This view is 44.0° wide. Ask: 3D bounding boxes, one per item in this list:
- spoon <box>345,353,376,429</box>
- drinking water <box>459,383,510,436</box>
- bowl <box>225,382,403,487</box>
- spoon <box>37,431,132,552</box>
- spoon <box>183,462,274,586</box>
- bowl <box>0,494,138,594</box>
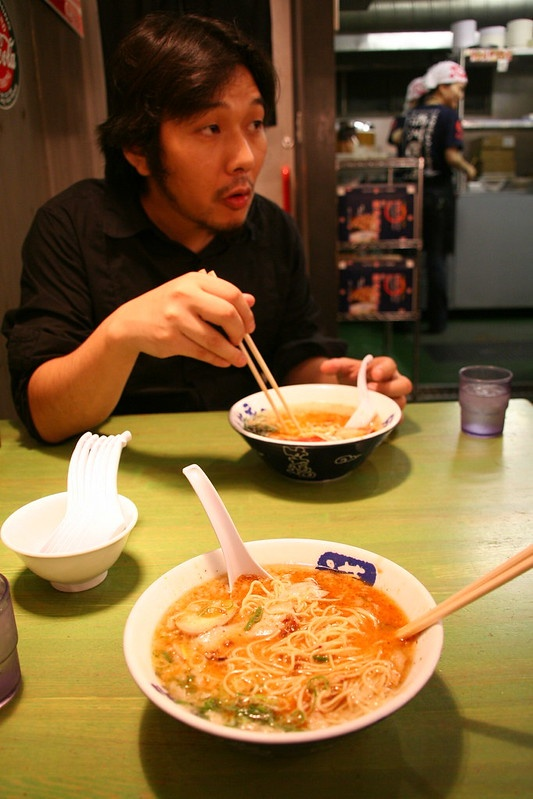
[{"bbox_3d":[0.237,-0.023,1.565,0.052,0.034,0.221,4,39,5],"label":"spoon"},{"bbox_3d":[0.503,0.031,1.536,0.119,0.123,0.118,-1,13,2],"label":"drinking water"},{"bbox_3d":[0.134,0.062,1.365,0.264,0.100,0.257,-1,16,0],"label":"bowl"},{"bbox_3d":[-0.291,0.136,1.060,0.100,0.030,0.184,-7,46,15],"label":"spoon"},{"bbox_3d":[-0.071,0.180,0.997,0.065,0.047,0.273,-10,52,-25],"label":"spoon"},{"bbox_3d":[-0.323,0.206,1.017,0.168,0.074,0.166,-4,28,2],"label":"bowl"}]
